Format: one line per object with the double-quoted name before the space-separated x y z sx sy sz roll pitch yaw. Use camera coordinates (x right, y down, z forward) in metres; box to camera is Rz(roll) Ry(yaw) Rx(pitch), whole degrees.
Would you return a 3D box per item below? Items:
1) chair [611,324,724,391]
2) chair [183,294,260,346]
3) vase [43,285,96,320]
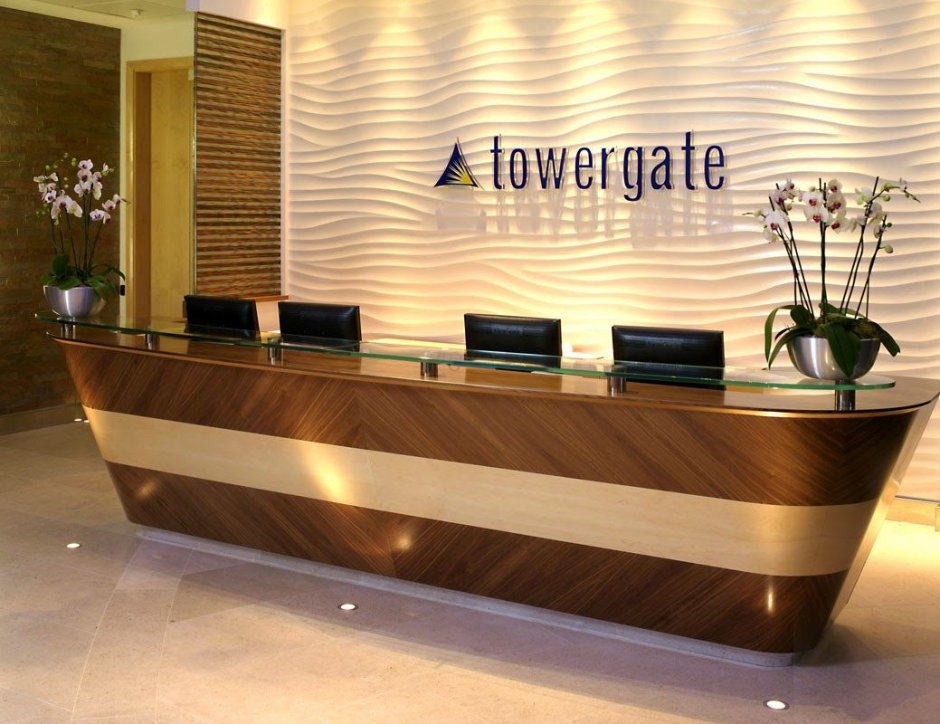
"chair" 0.776 0.002 2.934 0.448 0.214 0.629 3 9 10
"chair" -1.315 -0.216 3.901 0.490 0.253 0.239 5 5 19
"vase" -2.266 -0.348 4.240 0.292 0.136 0.247 -2 8 -17
